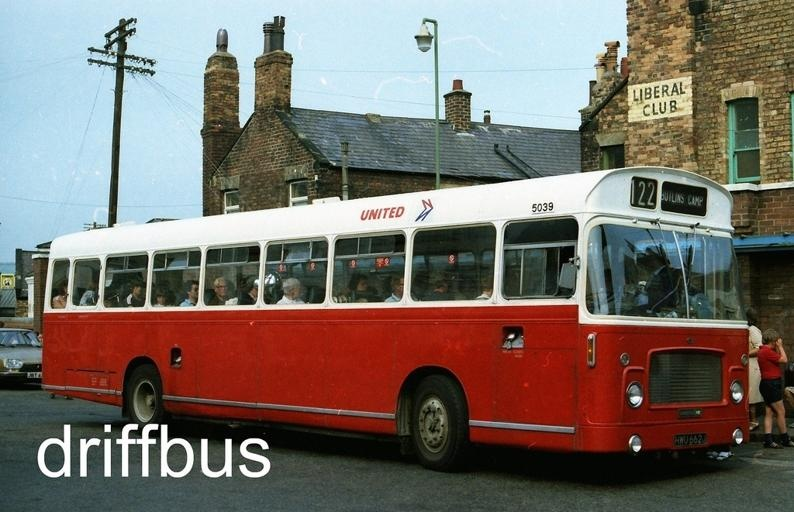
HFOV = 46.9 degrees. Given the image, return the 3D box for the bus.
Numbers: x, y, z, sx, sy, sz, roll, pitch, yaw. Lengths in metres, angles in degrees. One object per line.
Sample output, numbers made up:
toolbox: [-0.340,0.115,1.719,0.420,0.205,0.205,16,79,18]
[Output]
bus: [-1.791,1.274,18.998,16.901,5.184,5.246,-5,-6,42]

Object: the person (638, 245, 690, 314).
person: [4.116,0.397,14.136,0.996,1.064,0.294,0,0,-42]
